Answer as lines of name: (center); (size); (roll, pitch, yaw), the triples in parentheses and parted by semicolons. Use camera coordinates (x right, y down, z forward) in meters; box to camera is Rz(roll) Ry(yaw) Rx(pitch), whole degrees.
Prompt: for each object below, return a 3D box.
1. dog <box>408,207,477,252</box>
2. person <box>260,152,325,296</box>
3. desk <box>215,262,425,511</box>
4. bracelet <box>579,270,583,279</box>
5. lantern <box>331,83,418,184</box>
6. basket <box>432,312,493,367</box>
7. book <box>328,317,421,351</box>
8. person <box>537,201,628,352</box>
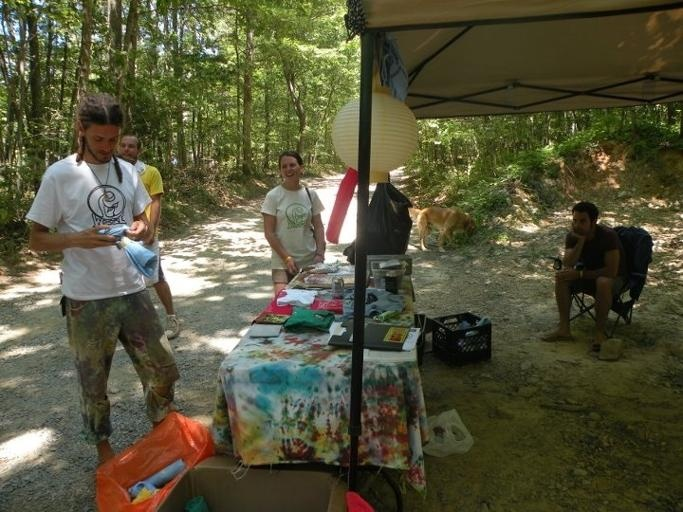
dog: (2.276, -0.629, 11.778); (1.284, 0.947, 0.867); (4, 12, 29)
person: (-0.561, -0.390, 5.961); (0.671, 1.613, 0.644); (-3, 12, -26)
desk: (-0.139, 0.994, 4.314); (1.084, 1.079, 1.513); (5, 13, 7)
bracelet: (2.907, 0.227, 6.460); (0.037, 0.087, 0.089); (2, 13, 16)
lantern: (0.268, -0.900, 3.993); (0.642, 0.723, 0.648); (2, 4, 7)
basket: (1.382, 0.905, 6.396); (0.725, 0.606, 0.593); (-3, 11, -16)
book: (0.310, 0.620, 4.145); (0.369, 0.054, 0.338); (0, 14, 4)
person: (3.025, 0.217, 6.731); (0.929, 1.739, 0.898); (19, 17, 34)
